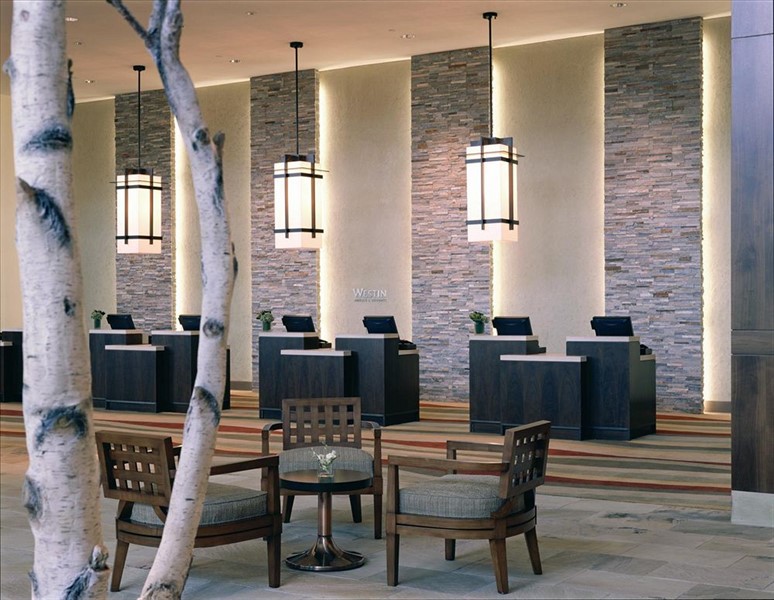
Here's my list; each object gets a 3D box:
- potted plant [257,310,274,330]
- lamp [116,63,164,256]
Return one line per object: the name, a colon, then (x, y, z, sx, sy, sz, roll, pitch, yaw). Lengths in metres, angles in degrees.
potted plant: (-1.985, 0.311, 12.406, 0.374, 0.366, 0.355, 0, -5, 0)
lamp: (-4.216, -2.403, 12.866, 0.695, 3.331, 2.157, 0, 0, -19)
